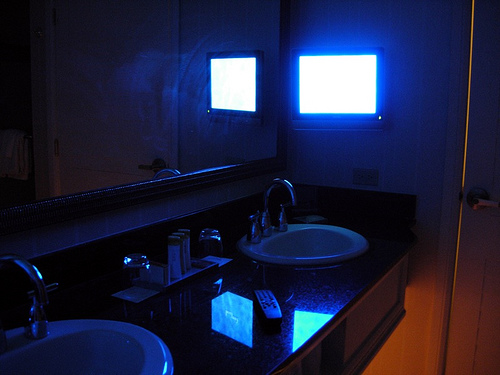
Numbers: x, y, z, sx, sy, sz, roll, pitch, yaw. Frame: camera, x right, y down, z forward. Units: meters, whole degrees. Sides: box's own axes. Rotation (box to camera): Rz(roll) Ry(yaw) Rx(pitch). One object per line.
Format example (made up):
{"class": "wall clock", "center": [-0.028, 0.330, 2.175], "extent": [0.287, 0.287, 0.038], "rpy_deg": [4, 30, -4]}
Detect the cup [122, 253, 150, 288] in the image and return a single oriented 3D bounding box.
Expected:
{"class": "cup", "center": [-0.388, 0.286, 1.353], "extent": [0.082, 0.128, 0.084], "rpy_deg": [1, 11, 0]}

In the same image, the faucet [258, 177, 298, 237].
{"class": "faucet", "center": [0.128, 0.110, 1.863], "extent": [0.175, 0.293, 0.076], "rpy_deg": [0, -24, 2]}

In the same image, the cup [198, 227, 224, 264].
{"class": "cup", "center": [-0.158, 0.234, 1.625], "extent": [0.103, 0.141, 0.122], "rpy_deg": [1, 5, 15]}

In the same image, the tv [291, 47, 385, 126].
{"class": "tv", "center": [0.499, -0.570, 2.249], "extent": [0.503, 0.432, 0.057], "rpy_deg": [1, -11, 6]}

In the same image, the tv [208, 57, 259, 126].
{"class": "tv", "center": [-0.088, -0.476, 1.945], "extent": [0.034, 0.384, 0.314], "rpy_deg": [11, 17, 41]}
